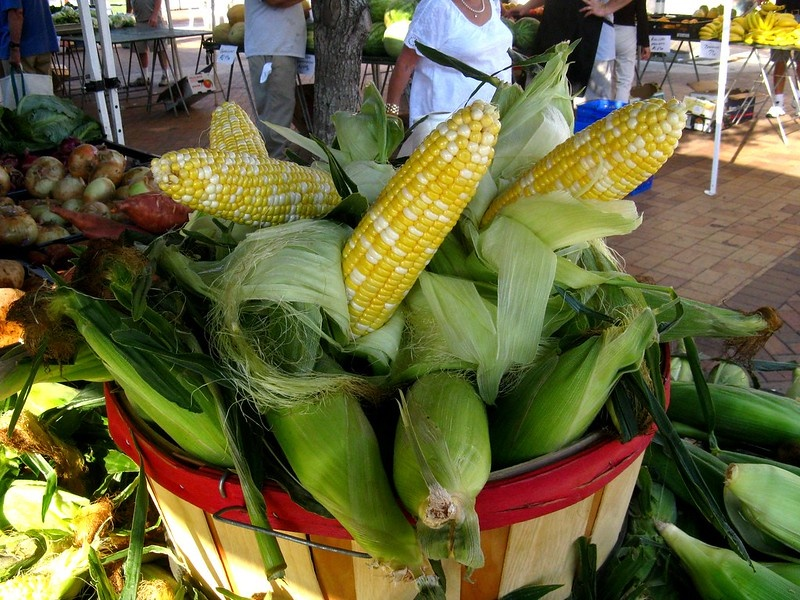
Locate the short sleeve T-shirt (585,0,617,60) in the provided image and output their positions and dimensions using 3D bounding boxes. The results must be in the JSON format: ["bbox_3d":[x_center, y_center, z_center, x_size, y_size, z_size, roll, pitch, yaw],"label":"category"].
[{"bbox_3d":[2.214,-2.826,6.520,0.227,0.822,0.215,6,10,31],"label":"short sleeve T-shirt"}]

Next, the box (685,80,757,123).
[{"bbox_3d":[4.764,-3.064,8.767,0.811,0.441,0.807,-32,51,-30],"label":"box"}]
